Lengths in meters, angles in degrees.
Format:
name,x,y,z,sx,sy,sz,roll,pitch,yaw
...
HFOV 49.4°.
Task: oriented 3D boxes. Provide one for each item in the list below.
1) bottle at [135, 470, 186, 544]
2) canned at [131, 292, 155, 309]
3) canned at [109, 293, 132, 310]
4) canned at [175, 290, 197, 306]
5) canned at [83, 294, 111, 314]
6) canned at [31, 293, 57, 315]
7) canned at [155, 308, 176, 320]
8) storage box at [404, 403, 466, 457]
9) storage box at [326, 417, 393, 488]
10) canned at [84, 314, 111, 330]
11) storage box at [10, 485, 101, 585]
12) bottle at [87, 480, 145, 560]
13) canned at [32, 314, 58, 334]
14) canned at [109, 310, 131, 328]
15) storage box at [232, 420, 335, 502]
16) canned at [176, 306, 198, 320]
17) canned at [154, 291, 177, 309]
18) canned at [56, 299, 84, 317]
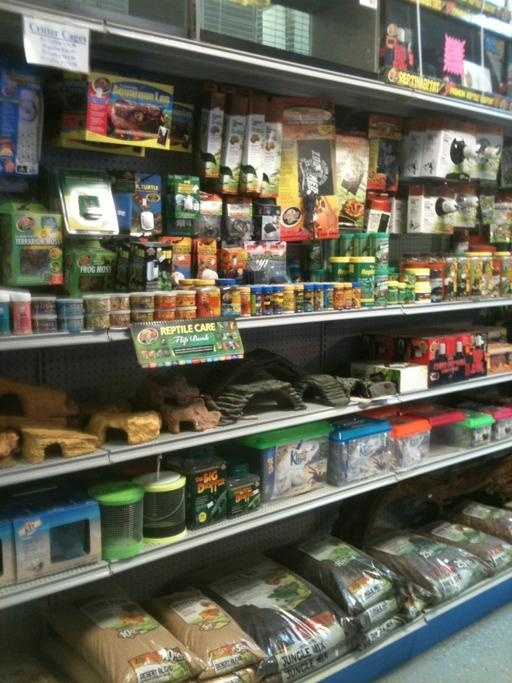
name,x,y,z,sx,sy,sz,roll,pitch,yaw
bottle,-0.296,0.543,1.915,0.212,0.200,0.199,-1,-1,24
canned,-0.351,-0.128,1.708,0.059,0.035,0.056,-1,7,-12
canned,-0.407,-0.122,1.665,0.052,0.034,0.050,0,6,-2
canned,-0.231,-0.145,1.829,0.056,0.037,0.054,1,4,11
canned,-0.456,-0.109,1.609,0.060,0.035,0.058,1,6,9
canned,-0.577,-0.104,1.514,0.055,0.035,0.053,1,4,3
canned,-0.287,-0.090,1.791,0.079,0.043,0.031,-9,13,-42
storage box,0.998,0.454,3.116,0.276,0.190,0.268,-12,17,-39
storage box,0.439,0.511,2.633,0.370,0.229,0.220,-4,1,-35
canned,-0.458,-0.059,1.612,0.048,0.030,0.046,1,2,18
storage box,-0.582,0.542,1.612,0.212,0.150,0.214,-2,1,-43
bottle,-0.453,0.570,1.803,0.184,0.182,0.175,1,0,-8
canned,-0.578,-0.050,1.526,0.053,0.035,0.051,0,3,-9
canned,-0.411,-0.068,1.675,0.054,0.043,0.053,1,3,9
storage box,0.101,0.495,2.425,0.284,0.281,0.475,6,8,40
canned,-0.231,-0.096,1.835,0.046,0.037,0.046,0,1,28
canned,-0.287,-0.135,1.764,0.059,0.039,0.057,-2,8,-18
canned,-0.517,-0.096,1.552,0.059,0.037,0.056,-2,7,-25
